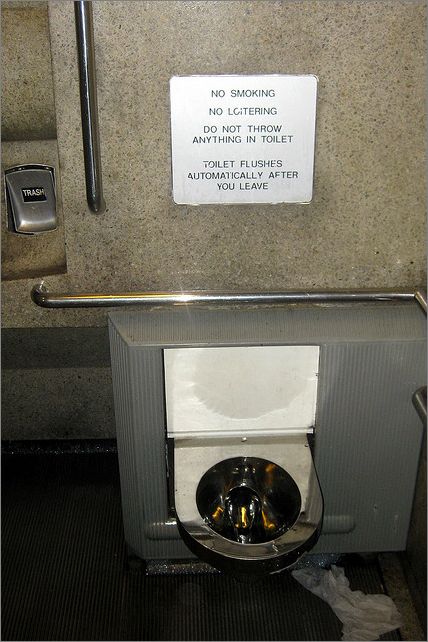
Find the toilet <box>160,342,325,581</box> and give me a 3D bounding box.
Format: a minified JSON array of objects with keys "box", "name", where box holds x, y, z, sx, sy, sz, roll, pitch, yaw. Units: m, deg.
[{"box":[0.089,0.324,1.176,0.389,0.334,0.458,-1,30,-6],"name":"toilet"}]
